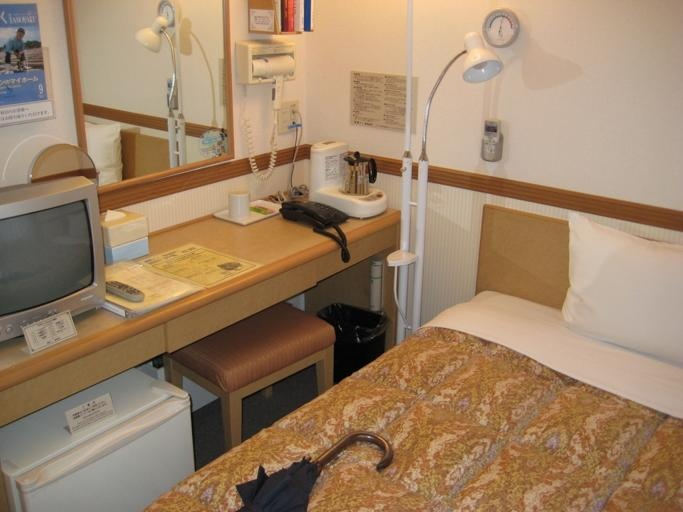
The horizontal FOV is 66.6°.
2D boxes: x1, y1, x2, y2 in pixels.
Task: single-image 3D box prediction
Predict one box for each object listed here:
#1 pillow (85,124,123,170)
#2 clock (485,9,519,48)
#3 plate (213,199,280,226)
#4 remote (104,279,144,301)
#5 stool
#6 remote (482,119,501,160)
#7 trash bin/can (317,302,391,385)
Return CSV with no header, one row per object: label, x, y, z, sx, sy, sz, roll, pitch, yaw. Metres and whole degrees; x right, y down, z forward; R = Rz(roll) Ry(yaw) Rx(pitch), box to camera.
pillow,-1.040,-0.479,2.251,0.068,0.182,0.160,15,30,37
clock,0.740,-1.056,2.414,0.167,0.168,0.050,8,25,22
plate,-0.514,-0.225,2.727,0.204,0.062,0.198,11,22,22
remote,-0.836,0.132,1.989,0.209,0.037,0.072,14,28,32
stool,-0.469,0.412,2.539,0.621,0.660,0.791,27,40,35
remote,0.757,-0.579,2.602,0.103,0.196,0.093,18,34,38
trash bin/can,0.048,0.432,2.943,0.349,0.460,0.342,18,28,33
